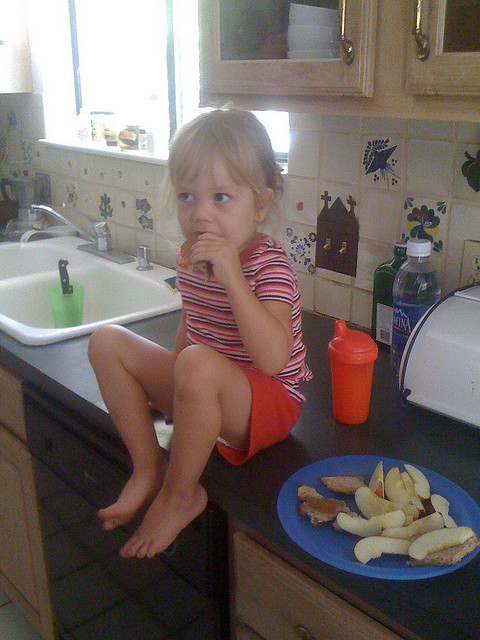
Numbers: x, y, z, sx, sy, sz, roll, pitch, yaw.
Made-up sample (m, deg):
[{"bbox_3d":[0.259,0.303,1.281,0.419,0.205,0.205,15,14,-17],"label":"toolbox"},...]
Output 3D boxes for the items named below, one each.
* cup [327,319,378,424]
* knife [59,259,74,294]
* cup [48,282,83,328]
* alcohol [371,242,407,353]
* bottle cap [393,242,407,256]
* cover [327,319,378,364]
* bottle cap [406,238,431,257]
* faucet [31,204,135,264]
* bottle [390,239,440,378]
[{"bbox_3d":[0.188,0.082,0.767,0.072,0.164,0.078,-3,13,1],"label":"cup"},{"bbox_3d":[-0.545,-0.136,1.495,0.038,0.107,0.038,-5,11,-22],"label":"knife"},{"bbox_3d":[-0.555,-0.052,1.522,0.069,0.132,0.074,1,27,0],"label":"cup"},{"bbox_3d":[0.328,-0.059,1.034,0.070,0.246,0.070,-26,32,-34],"label":"alcohol"},{"bbox_3d":[0.319,-0.143,0.950,0.020,0.022,0.023,-7,27,-14],"label":"bottle cap"},{"bbox_3d":[0.174,0.034,0.750,0.072,0.060,0.069,-4,12,-11],"label":"cover"},{"bbox_3d":[0.309,-0.126,0.812,0.028,0.023,0.033,-4,16,-12],"label":"bottle cap"},{"bbox_3d":[-0.616,-0.343,1.839,0.386,0.190,0.121,7,13,10],"label":"faucet"},{"bbox_3d":[0.336,-0.028,0.921,0.088,0.263,0.209,3,12,25],"label":"bottle"}]
